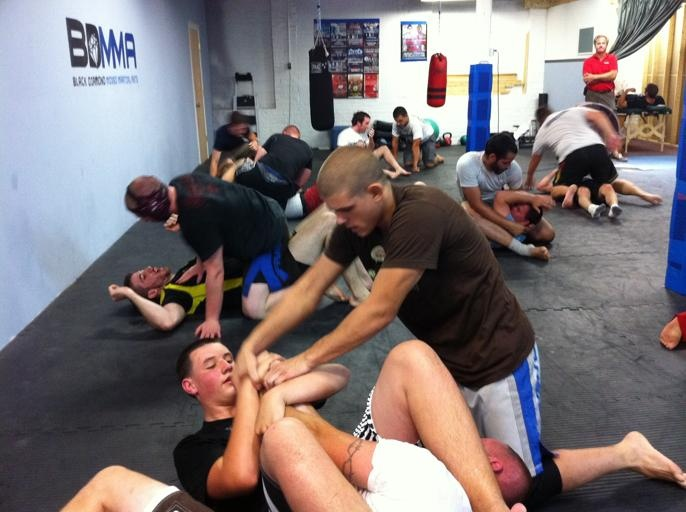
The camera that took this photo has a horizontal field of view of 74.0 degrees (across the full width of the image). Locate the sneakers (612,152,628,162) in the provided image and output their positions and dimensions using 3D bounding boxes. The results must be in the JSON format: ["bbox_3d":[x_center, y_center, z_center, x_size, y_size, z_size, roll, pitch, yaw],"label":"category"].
[{"bbox_3d":[5.133,-1.824,8.437,0.136,0.130,0.309,-6,10,-7],"label":"sneakers"}]

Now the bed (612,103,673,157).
[{"bbox_3d":[6.291,-2.743,9.573,1.095,1.087,1.390,1,10,17],"label":"bed"}]
